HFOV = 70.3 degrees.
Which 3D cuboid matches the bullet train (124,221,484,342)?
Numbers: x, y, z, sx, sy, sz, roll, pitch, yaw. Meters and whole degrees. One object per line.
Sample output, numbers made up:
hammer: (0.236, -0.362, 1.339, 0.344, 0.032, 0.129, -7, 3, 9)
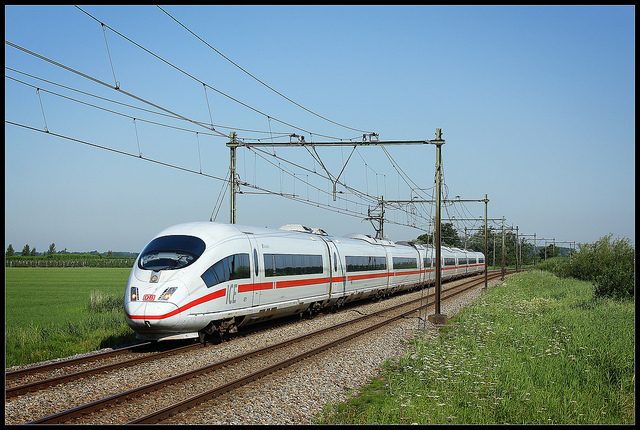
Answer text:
bullet train: (2.235, 3.297, 28.106, 2.403, 4.575, 32.350, -6, -7, 28)
